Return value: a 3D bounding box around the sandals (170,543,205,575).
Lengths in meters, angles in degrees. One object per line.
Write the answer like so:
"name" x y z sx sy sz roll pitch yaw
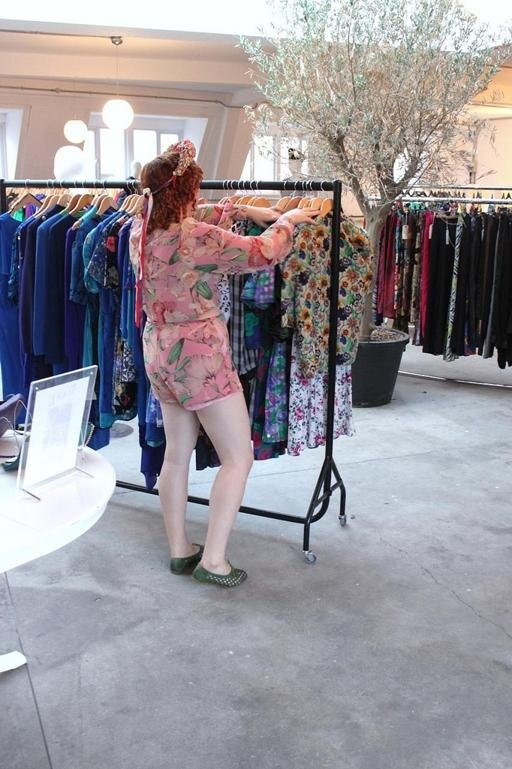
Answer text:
"sandals" -0.258 0.663 2.236 0.058 0.054 0.165 2 13 18

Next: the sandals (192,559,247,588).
"sandals" -0.136 0.663 2.096 0.160 0.067 0.082 0 6 -23

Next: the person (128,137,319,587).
"person" -0.185 -0.014 1.931 0.557 1.481 0.334 5 9 33
